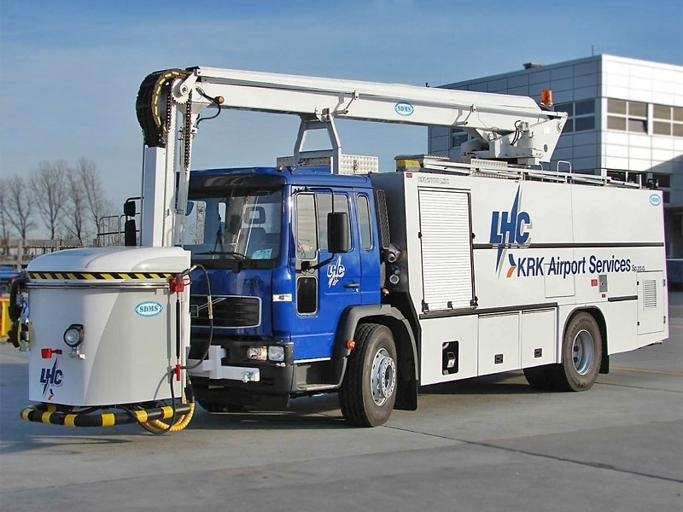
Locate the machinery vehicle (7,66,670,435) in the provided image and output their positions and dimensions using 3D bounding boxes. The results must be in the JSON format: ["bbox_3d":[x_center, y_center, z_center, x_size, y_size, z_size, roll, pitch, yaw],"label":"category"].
[{"bbox_3d":[0.756,0.139,18.972,12.986,5.730,4.292,1,-3,-38],"label":"machinery vehicle"}]
